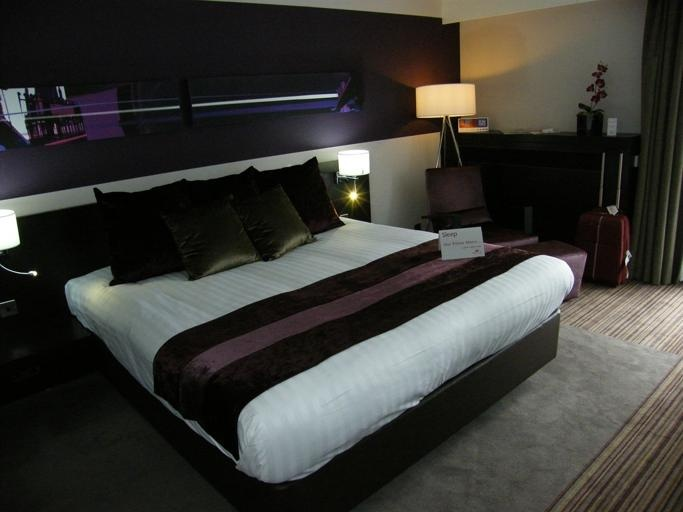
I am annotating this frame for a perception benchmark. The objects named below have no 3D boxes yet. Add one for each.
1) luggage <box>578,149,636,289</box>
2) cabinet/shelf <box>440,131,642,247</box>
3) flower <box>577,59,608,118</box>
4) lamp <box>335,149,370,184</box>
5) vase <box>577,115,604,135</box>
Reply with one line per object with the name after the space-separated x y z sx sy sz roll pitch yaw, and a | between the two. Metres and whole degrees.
2.549 -0.330 4.544 0.423 1.232 0.437 11 26 42 | luggage
2.094 -0.673 4.811 0.356 1.082 1.170 -16 19 -42 | cabinet/shelf
2.520 -1.683 4.715 0.261 0.469 0.397 3 21 26 | flower
0.124 -0.907 4.802 0.307 0.359 0.308 -10 19 -22 | lamp
2.460 -1.308 4.675 0.228 0.222 0.208 2 21 24 | vase
